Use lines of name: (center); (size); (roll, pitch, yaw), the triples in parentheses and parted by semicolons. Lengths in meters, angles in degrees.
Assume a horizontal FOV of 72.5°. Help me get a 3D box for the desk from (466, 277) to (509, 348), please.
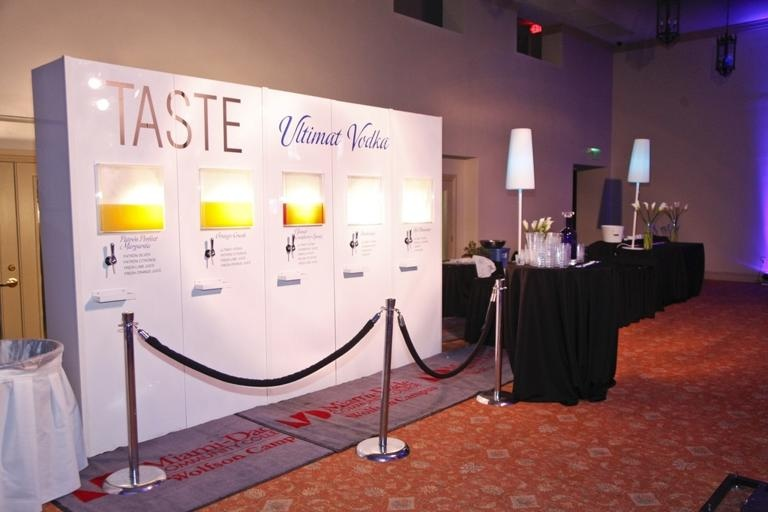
desk: (1.237, 0.720, 7.192); (0.710, 0.894, 0.706); (2, 17, 0)

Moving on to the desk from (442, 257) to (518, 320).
desk: (1.311, 0.528, 7.706); (0.852, 0.631, 0.848); (-3, 9, -33)

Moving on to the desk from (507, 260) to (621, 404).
desk: (1.804, 0.675, 5.619); (1.214, 1.439, 1.499); (2, 5, 41)

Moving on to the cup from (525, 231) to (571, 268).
cup: (1.689, -0.070, 5.405); (0.435, 0.329, 0.328); (0, 2, 23)

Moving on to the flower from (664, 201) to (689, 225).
flower: (6.617, -0.960, 11.828); (0.526, 0.654, 0.474); (10, 23, 29)
